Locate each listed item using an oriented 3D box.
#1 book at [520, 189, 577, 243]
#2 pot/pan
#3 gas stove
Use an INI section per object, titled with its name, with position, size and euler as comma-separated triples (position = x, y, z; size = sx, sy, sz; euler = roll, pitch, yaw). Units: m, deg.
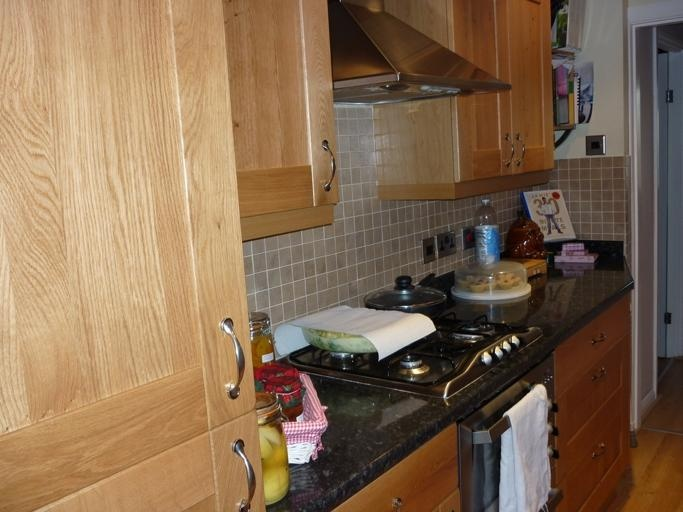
[book]
position = 1.214, -0.246, 3.170
size = 0.344, 0.303, 0.077
euler = -9, -11, -17
[pot/pan]
position = 0.228, 0.182, 2.083
size = 0.357, 0.179, 0.387
euler = 6, 1, -5
[gas stove]
position = 0.297, 0.321, 1.819
size = 0.560, 0.111, 0.768
euler = -8, 0, 37
